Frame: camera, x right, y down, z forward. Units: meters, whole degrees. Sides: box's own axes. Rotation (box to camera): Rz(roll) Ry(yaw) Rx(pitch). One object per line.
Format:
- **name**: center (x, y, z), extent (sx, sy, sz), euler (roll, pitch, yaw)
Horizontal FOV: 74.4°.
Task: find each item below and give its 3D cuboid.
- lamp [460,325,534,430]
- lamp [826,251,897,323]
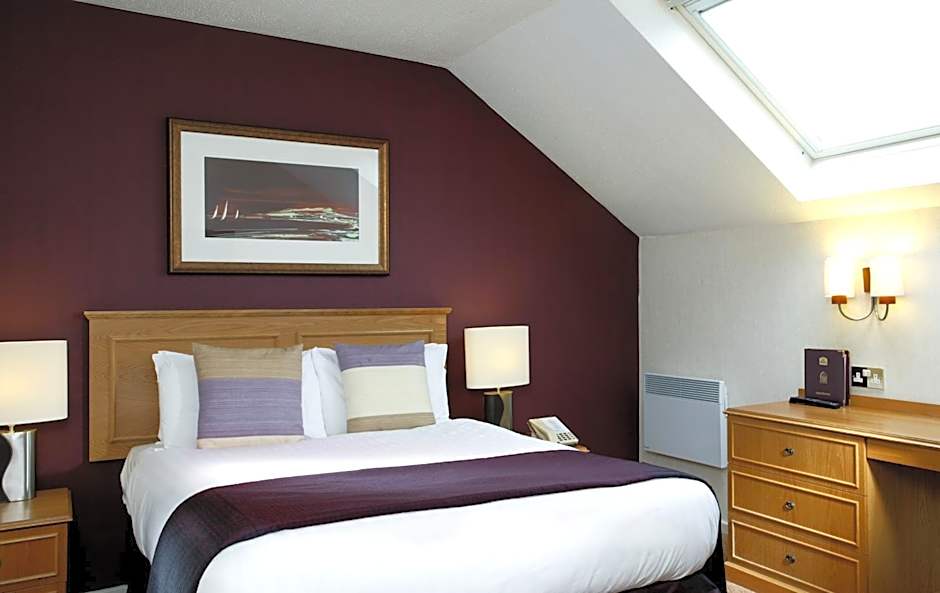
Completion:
- **lamp**: center (0.152, 0.657, 5.554), extent (0.733, 1.187, 0.713), euler (-2, -1, 1)
- **lamp**: center (2.917, -0.061, 4.548), extent (0.304, 0.546, 0.505), euler (3, -2, -34)
